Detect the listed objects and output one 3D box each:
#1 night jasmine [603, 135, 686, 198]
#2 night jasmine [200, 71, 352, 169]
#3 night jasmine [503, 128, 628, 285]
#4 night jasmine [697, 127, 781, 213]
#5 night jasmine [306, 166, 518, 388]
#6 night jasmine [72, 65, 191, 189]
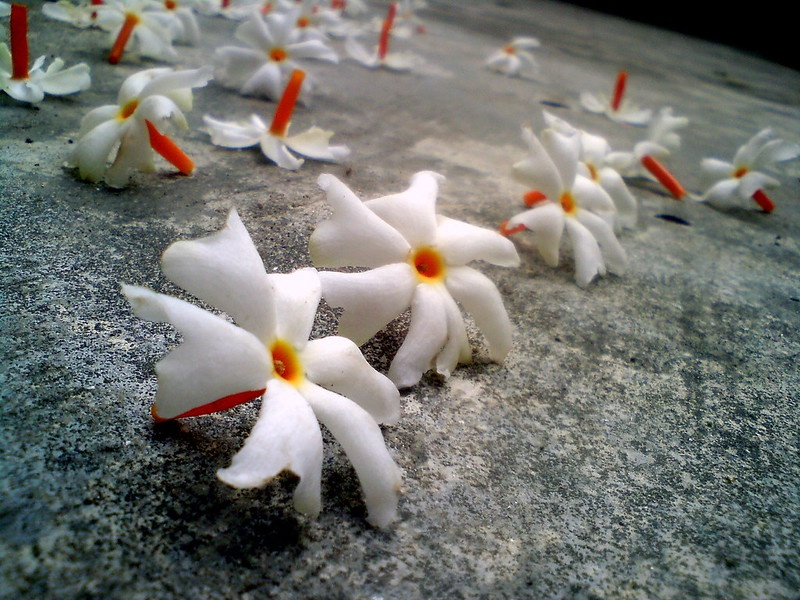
[{"bbox_3d":[0.722,-0.416,2.156,0.247,0.062,0.183,38,55,18],"label":"night jasmine"},{"bbox_3d":[-0.299,-0.479,1.875,0.404,0.247,0.166,5,34,-16],"label":"night jasmine"},{"bbox_3d":[0.342,-0.230,1.740,0.350,0.087,0.345,45,51,-21],"label":"night jasmine"},{"bbox_3d":[1.000,-0.367,2.174,0.111,0.260,0.247,45,-9,-17],"label":"night jasmine"},{"bbox_3d":[0.031,-0.064,1.354,0.112,0.399,0.422,-7,49,-25],"label":"night jasmine"},{"bbox_3d":[-0.596,-0.401,1.612,0.251,0.298,0.171,-2,37,-25],"label":"night jasmine"}]
